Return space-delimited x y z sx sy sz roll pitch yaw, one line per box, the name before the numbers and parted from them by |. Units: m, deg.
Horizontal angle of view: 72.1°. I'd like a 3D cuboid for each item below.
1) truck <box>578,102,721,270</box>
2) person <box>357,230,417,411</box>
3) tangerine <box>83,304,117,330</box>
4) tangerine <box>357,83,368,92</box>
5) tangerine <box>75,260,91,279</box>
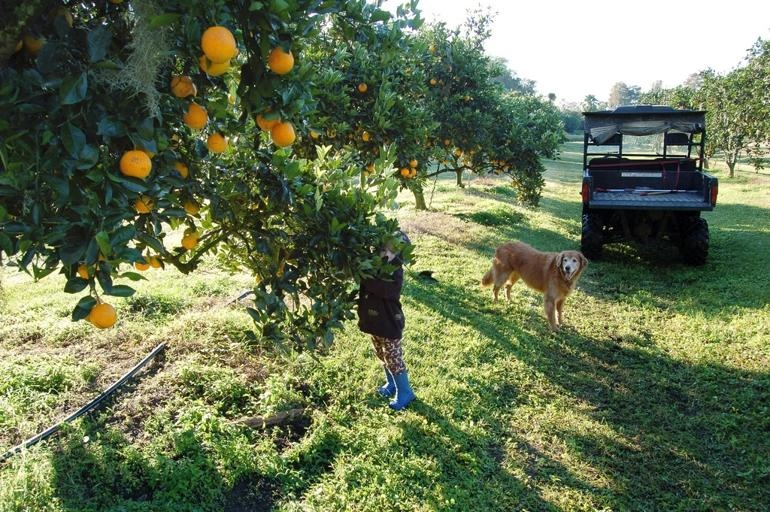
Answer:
truck | 5.423 -1.629 10.927 2.340 3.323 3.364 3 7 28
person | 0.003 0.689 5.480 0.601 1.952 1.465 0 6 3
tangerine | -1.964 0.413 3.646 0.167 0.188 0.216 -5 8 -35
tangerine | -0.263 -1.987 6.241 0.102 0.100 0.100 -10 18 -42
tangerine | -2.024 0.089 3.530 0.095 0.114 0.094 -11 13 -14
